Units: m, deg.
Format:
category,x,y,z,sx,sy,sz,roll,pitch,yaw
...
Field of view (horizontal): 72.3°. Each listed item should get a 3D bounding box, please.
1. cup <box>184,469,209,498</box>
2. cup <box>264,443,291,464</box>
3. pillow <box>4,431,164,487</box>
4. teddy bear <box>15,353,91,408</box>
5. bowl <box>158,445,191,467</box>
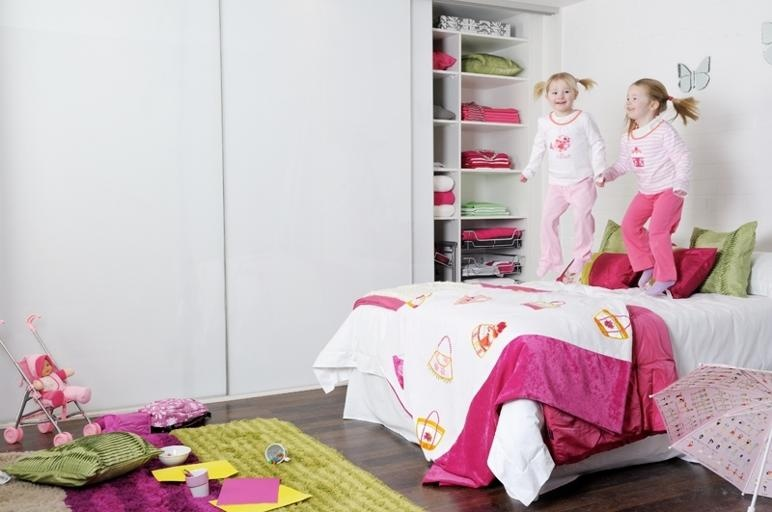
category,x,y,z,sx,sy,sz,roll,pitch,yaw
cup,-0.881,1.070,2.533,0.125,0.124,0.117,-2,-4,0
cup,-0.588,1.062,2.878,0.106,0.113,0.084,-15,-10,5
pillow,-1.532,1.009,2.626,0.396,0.110,0.344,-1,-3,26
teddy bear,-2.028,0.749,3.273,0.479,0.226,0.279,25,30,31
bowl,-1.142,1.065,2.831,0.118,0.038,0.112,-1,2,0
